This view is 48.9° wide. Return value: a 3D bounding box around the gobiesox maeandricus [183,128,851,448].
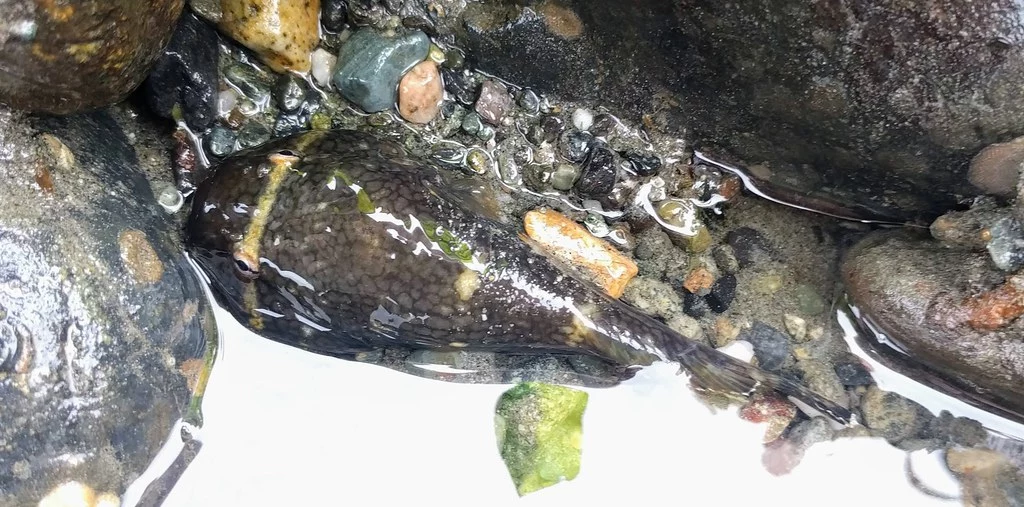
[{"bbox_3d":[-0.378,0.128,6.823,3.105,1.167,1.092,11,-54,-17],"label":"gobiesox maeandricus"}]
